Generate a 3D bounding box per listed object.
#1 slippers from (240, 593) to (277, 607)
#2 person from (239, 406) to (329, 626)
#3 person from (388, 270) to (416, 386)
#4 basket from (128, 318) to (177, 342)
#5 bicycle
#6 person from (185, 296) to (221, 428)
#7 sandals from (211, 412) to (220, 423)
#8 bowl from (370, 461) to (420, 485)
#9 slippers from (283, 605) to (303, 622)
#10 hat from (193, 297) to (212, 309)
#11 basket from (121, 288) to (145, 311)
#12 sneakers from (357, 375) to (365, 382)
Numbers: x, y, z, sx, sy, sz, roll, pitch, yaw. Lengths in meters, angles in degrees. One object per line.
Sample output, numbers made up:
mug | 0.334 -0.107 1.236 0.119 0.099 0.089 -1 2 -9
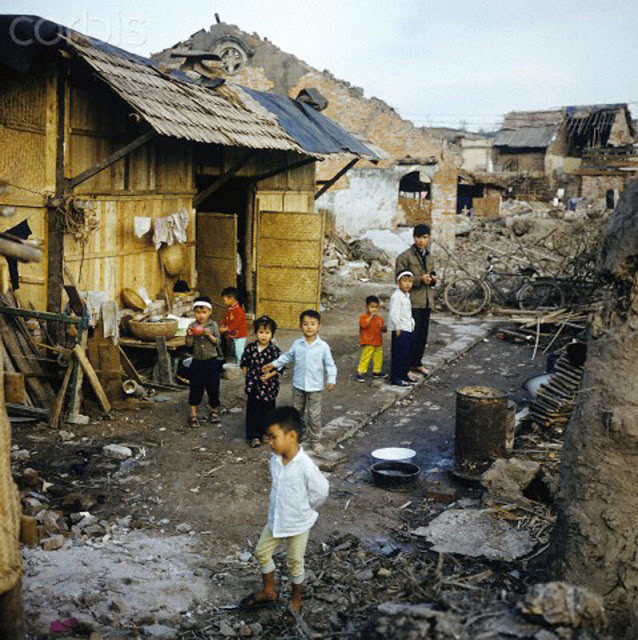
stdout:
slippers | -0.401 1.837 5.029 0.258 0.077 0.083 3 3 -5
person | -0.200 1.219 4.992 0.487 1.317 0.282 2 9 2
person | 1.010 0.126 9.468 0.310 1.432 0.460 3 9 7
basket | -1.936 0.136 9.212 0.526 0.237 0.443 -4 8 -34
bicycle | 3.853 -0.528 15.472 2.820 1.109 1.013 8 5 11
person | -1.190 0.442 7.917 0.396 1.260 0.287 -5 11 -36
sandals | -1.077 1.023 8.054 0.095 0.095 0.052 -3 -8 -9
bowl | 0.676 1.391 7.000 0.432 0.157 0.395 1 7 0
slippers | -0.161 1.877 4.946 0.108 0.058 0.134 1 7 -3
hat | -1.197 -0.153 7.897 0.157 0.129 0.185 1 16 -3
basket | -2.287 -0.253 9.721 0.306 0.275 0.316 5 8 23
sneakers | 0.524 0.751 9.847 0.106 0.102 0.273 1 -3 -7
